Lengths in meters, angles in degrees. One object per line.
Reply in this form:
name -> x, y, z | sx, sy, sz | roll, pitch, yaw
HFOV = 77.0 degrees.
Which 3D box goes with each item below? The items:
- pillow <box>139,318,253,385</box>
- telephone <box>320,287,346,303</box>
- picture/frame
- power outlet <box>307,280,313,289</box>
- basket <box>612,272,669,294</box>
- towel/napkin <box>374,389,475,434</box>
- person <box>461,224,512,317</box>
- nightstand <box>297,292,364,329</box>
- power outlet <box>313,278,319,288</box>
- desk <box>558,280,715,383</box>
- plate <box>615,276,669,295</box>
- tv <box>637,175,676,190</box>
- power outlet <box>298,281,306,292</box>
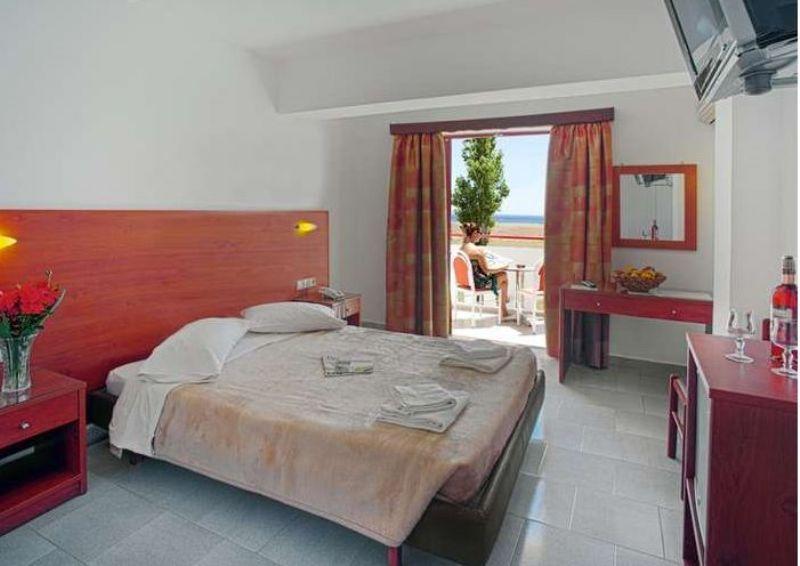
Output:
pillow -> -1.403, 0.429, 3.443 | 0.350, 0.139, 0.542 | 1, 13, 5
telephone -> -0.715, 0.119, 5.258 | 0.203, 0.065, 0.150 | 6, 8, 13
picture/frame -> 2.485, -0.738, 4.809 | 0.861, 0.952, 0.050 | 3, 6, 32
power outlet -> -0.957, 0.010, 5.203 | 0.004, 0.047, 0.081 | 2, 15, 23
basket -> 2.205, -0.011, 4.516 | 0.276, 0.117, 0.272 | -1, 2, -27
towel/napkin -> 0.124, 0.715, 2.802 | 0.273, 0.083, 0.270 | 2, 8, 23
person -> 1.216, -0.168, 7.026 | 0.703, 1.232, 0.973 | 2, 14, 6
nightstand -> -0.726, 0.225, 5.285 | 0.424, 0.493, 0.527 | 3, 8, 18
power outlet -> -0.909, -0.001, 5.303 | 0.010, 0.067, 0.099 | 2, 6, 20
desk -> 2.324, 0.536, 4.675 | 0.699, 0.910, 1.429 | -7, 10, -41
plate -> 2.194, 0.007, 4.571 | 0.385, 0.150, 0.264 | 8, 15, 27
tv -> 2.448, -0.971, 4.812 | 0.337, 0.135, 0.015 | 8, 16, 28
power outlet -> -1.007, 0.034, 5.116 | 0.010, 0.098, 0.125 | 9, 16, 29
